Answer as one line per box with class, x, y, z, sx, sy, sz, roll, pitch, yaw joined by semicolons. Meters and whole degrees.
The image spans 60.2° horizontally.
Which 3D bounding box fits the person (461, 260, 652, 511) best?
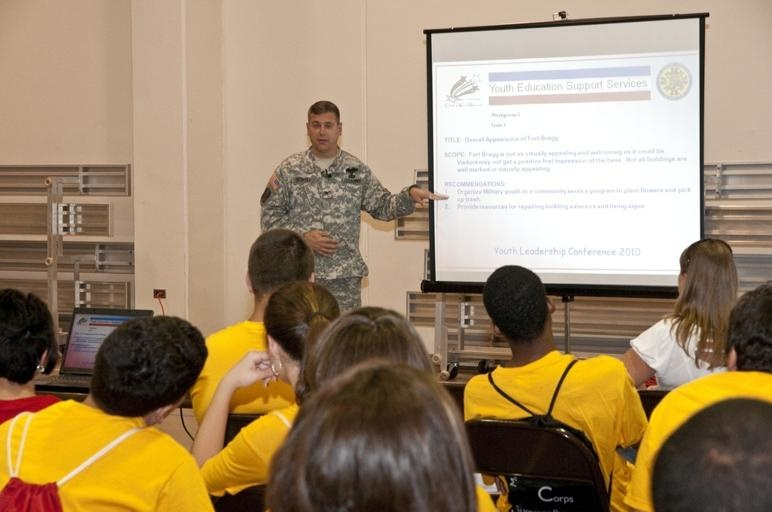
person;0.672;0.504;2.689;0.602;0.457;0.836;-16;-50;16
